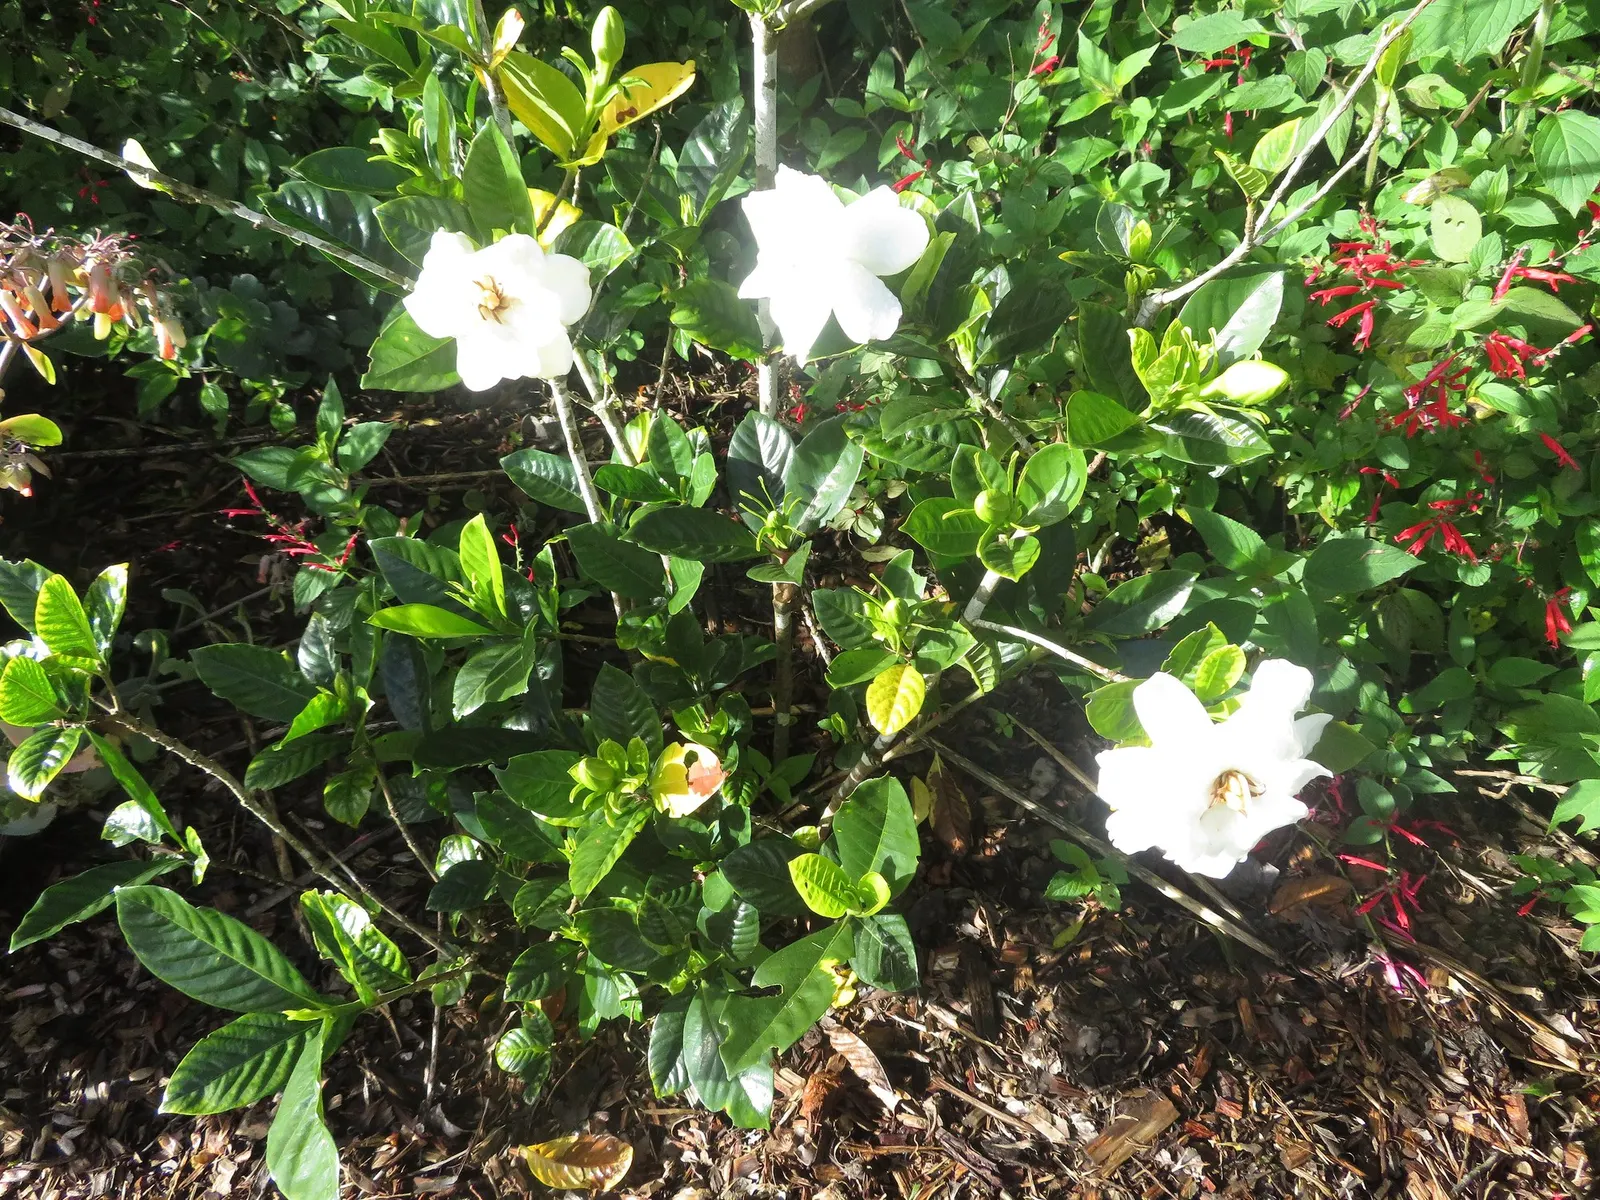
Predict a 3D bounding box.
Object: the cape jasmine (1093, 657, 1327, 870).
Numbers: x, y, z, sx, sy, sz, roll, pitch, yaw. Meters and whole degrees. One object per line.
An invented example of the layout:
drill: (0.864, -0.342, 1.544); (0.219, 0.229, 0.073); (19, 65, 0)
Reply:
cape jasmine: (0.681, 0.271, 2.089); (0.443, 0.179, 0.334); (-5, -83, 6)

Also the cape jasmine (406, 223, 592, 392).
cape jasmine: (-0.512, -0.492, 2.163); (0.279, 0.151, 0.248); (22, -47, -8)
